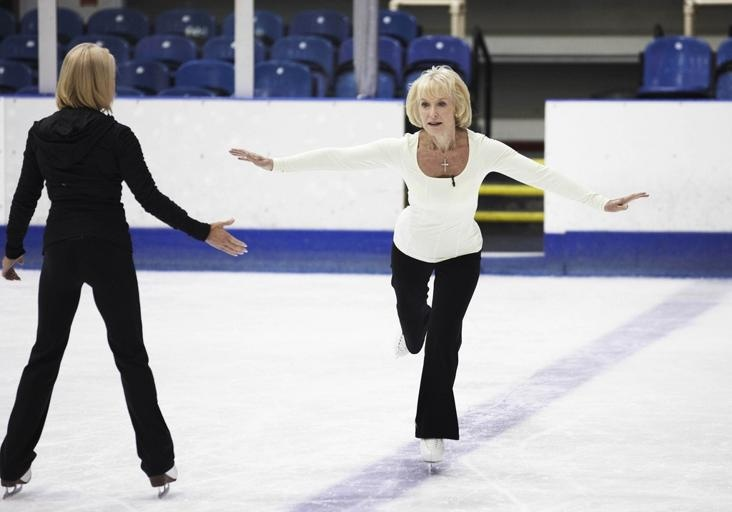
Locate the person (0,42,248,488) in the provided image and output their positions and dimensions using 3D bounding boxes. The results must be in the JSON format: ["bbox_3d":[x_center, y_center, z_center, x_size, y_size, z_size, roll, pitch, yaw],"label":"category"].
[{"bbox_3d":[-1.073,0.207,3.918,0.910,1.560,0.473,-2,15,-7],"label":"person"}]

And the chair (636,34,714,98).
[{"bbox_3d":[2.727,-1.771,8.543,0.729,0.518,0.340,-1,16,-8],"label":"chair"}]
